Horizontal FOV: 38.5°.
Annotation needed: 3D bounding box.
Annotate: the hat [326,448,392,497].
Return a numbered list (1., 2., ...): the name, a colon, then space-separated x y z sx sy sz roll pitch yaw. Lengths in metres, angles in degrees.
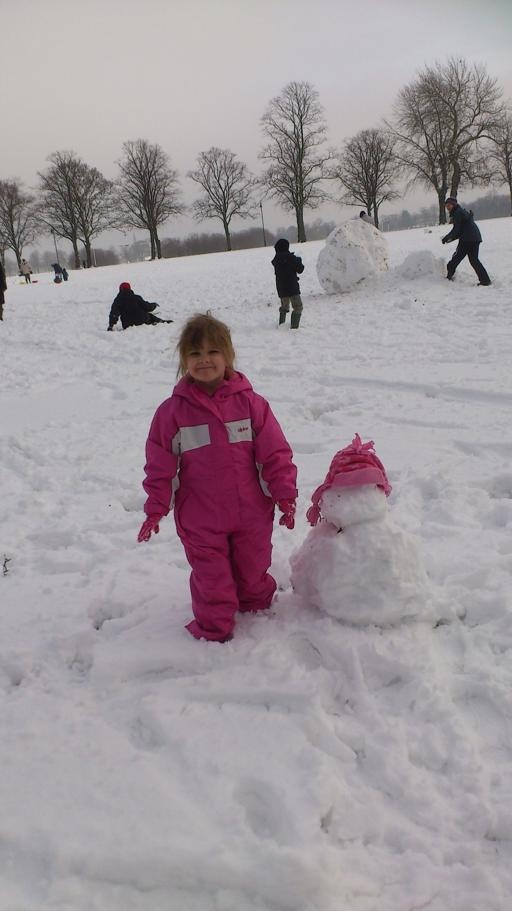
1. hat: 0.399 0.064 2.920 0.158 0.140 0.230 -1 3 -5

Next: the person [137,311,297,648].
1. person: -0.147 0.082 2.837 0.594 1.214 0.403 -5 14 -2

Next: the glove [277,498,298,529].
1. glove: 0.124 0.219 2.834 0.076 0.124 0.043 1 4 32

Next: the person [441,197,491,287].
1. person: 3.076 -3.190 10.865 0.672 1.286 1.769 -1 16 14
